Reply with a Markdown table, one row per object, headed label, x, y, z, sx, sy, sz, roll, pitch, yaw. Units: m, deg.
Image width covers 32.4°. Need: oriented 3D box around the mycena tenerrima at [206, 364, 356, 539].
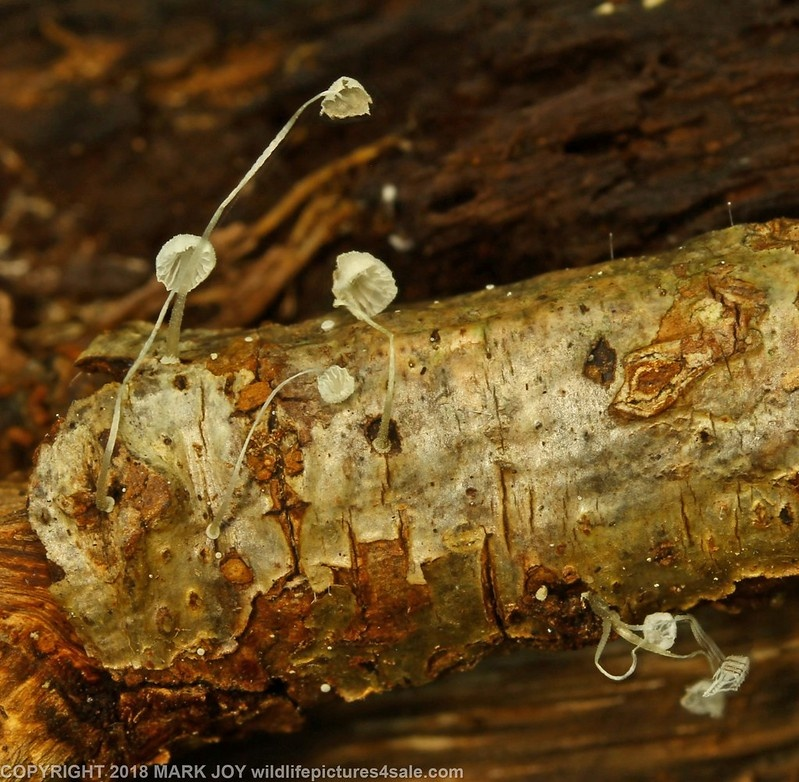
| label | x | y | z | sx | sy | sz | roll | pitch | yaw |
| --- | --- | --- | --- | --- | --- | --- | --- | --- | --- |
| mycena tenerrima | -0.455 | 0.263 | 5.369 | 0.377 | 0.864 | 0.164 | 23 | 47 | -22 |
